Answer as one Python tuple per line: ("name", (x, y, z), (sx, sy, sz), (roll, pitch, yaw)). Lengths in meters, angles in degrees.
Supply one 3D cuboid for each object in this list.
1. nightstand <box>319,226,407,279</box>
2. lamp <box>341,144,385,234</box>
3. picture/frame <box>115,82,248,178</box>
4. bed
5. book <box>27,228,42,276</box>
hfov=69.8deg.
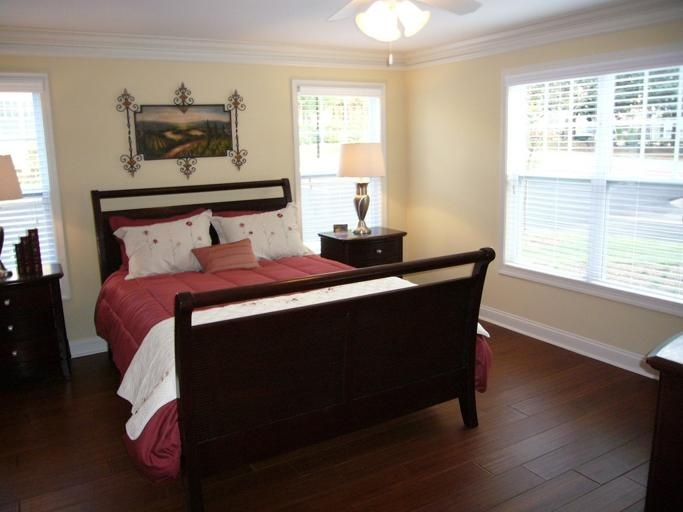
("nightstand", (0.226, -0.174, 5.290), (0.648, 0.647, 0.470), (-10, 16, -37))
("lamp", (0.206, -0.708, 5.231), (0.491, 0.900, 0.496), (2, 1, 35))
("picture/frame", (-1.527, -1.213, 4.766), (1.241, 0.944, 0.043), (-4, 4, -12))
("bed", (-0.509, 0.366, 3.357), (1.454, 1.109, 1.766), (-8, 12, -32))
("book", (-2.535, -0.024, 4.029), (0.099, 0.377, 0.081), (-2, -9, -39))
